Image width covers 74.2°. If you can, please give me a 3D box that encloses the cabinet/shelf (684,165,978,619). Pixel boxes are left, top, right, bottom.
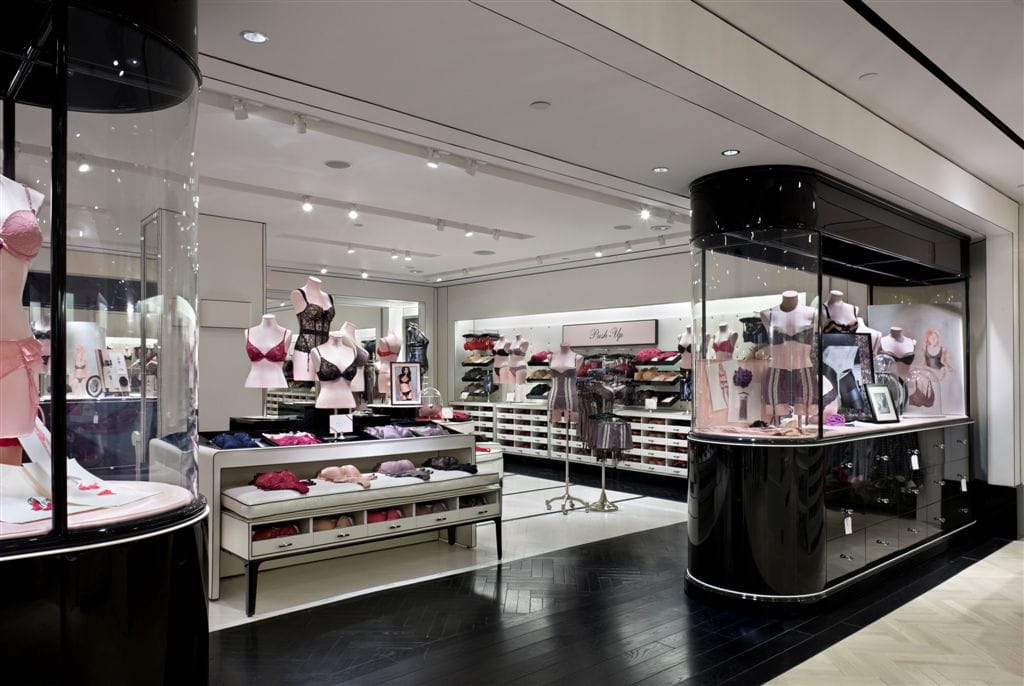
[{"bbox_3d":[3.252,0.308,6.643,4.244,3.627,1.326,-3,6,-39],"label":"cabinet/shelf"}]
